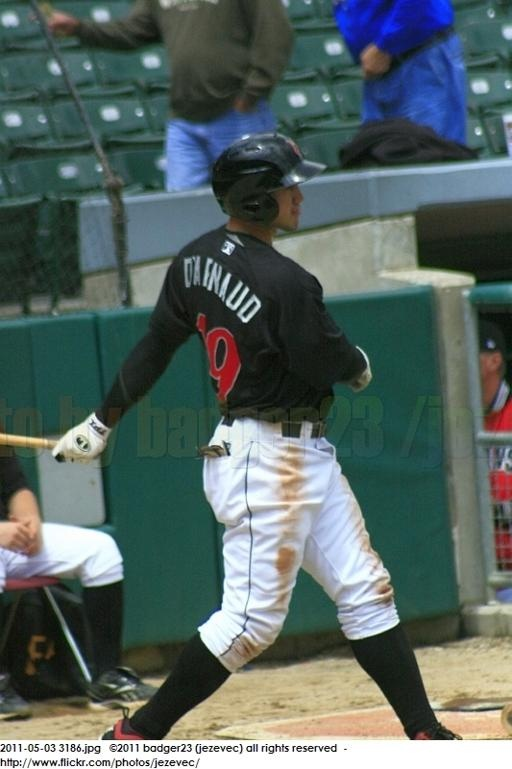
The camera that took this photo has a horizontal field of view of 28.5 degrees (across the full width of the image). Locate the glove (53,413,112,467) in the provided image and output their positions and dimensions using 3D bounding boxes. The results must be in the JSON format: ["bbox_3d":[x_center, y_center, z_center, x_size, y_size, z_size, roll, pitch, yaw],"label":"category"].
[{"bbox_3d":[-0.463,0.163,2.722,0.155,0.056,0.133,-27,13,33],"label":"glove"}]

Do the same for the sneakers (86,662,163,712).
[{"bbox_3d":[-0.402,0.897,3.013,0.277,0.097,0.091,0,-4,-21],"label":"sneakers"}]

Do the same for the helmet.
[{"bbox_3d":[0.040,-0.525,2.520,0.320,0.199,0.188,-3,31,4],"label":"helmet"}]
